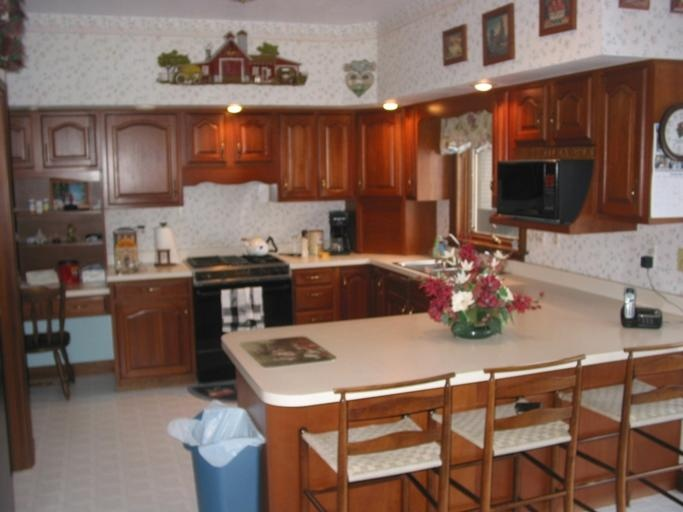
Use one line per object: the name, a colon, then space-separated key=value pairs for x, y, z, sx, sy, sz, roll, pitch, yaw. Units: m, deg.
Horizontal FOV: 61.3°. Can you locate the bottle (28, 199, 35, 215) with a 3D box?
bottle: x=-2.893 y=-0.476 z=5.417 sx=0.056 sy=0.127 sz=0.152 roll=-8 pitch=13 yaw=-28

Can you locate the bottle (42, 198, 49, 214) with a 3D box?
bottle: x=-2.781 y=-0.482 z=5.437 sx=0.062 sy=0.120 sz=0.145 roll=-4 pitch=12 yaw=-13

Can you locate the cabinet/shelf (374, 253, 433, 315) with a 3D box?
cabinet/shelf: x=0.522 y=0.284 z=5.370 sx=0.466 sy=0.561 sz=0.821 roll=0 pitch=3 yaw=-13

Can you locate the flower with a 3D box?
flower: x=0.802 y=0.166 z=3.356 sx=0.580 sy=0.433 sz=0.459 roll=-2 pitch=0 yaw=-24

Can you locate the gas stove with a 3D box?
gas stove: x=-1.007 y=0.120 z=5.655 sx=0.948 sy=0.188 sz=0.650 roll=-5 pitch=12 yaw=-18

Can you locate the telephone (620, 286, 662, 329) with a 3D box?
telephone: x=1.809 y=0.336 z=3.501 sx=0.233 sy=0.241 sz=0.165 roll=4 pitch=-15 yaw=17

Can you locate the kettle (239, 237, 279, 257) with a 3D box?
kettle: x=-0.809 y=-0.097 z=5.903 sx=0.345 sy=0.204 sz=0.193 roll=0 pitch=2 yaw=-25

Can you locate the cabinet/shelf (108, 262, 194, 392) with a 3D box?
cabinet/shelf: x=-1.710 y=0.621 z=5.735 sx=1.030 sy=1.465 sz=0.935 roll=-2 pitch=4 yaw=-21

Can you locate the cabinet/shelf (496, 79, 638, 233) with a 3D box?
cabinet/shelf: x=1.517 y=-0.660 z=3.810 sx=0.504 sy=0.936 sz=0.990 roll=-2 pitch=7 yaw=-14

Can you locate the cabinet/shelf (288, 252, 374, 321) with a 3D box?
cabinet/shelf: x=-0.142 y=0.212 z=5.973 sx=0.944 sy=0.896 sz=0.559 roll=-3 pitch=6 yaw=-22

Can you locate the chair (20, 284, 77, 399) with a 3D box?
chair: x=-2.581 y=0.711 z=5.121 sx=0.371 sy=1.033 sz=0.794 roll=-8 pitch=13 yaw=-28

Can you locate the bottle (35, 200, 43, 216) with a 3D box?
bottle: x=-2.821 y=-0.462 z=5.404 sx=0.067 sy=0.117 sz=0.105 roll=-6 pitch=12 yaw=-23

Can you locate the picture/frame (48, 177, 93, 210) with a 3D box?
picture/frame: x=-2.578 y=-0.590 z=5.483 sx=0.275 sy=0.261 sz=0.096 roll=0 pitch=8 yaw=-13
